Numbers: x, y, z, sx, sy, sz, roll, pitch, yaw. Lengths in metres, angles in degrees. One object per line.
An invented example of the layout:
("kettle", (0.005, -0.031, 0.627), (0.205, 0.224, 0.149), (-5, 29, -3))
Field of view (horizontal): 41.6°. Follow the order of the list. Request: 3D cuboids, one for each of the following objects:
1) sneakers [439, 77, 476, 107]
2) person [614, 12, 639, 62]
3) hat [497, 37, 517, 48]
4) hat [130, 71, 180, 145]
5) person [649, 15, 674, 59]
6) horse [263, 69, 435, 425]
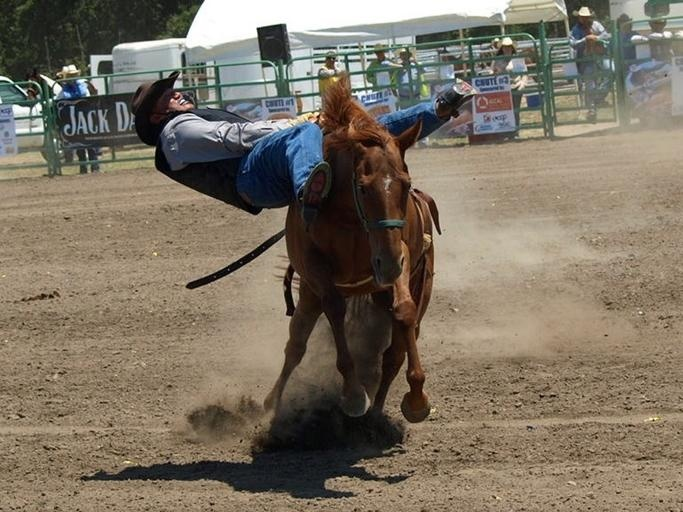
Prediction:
("sneakers", (0.993, -1.358, 7.697), (0.268, 0.240, 0.096), (-44, -19, -6))
("person", (5.467, -4.118, 17.258), (0.309, 0.845, 0.426), (-3, 10, 18))
("hat", (3.206, -4.187, 17.481), (0.303, 0.122, 0.317), (0, 2, -1))
("hat", (-1.685, -1.320, 7.937), (0.226, 0.567, 0.496), (22, 30, 1))
("person", (6.082, -4.121, 17.111), (0.432, 0.784, 0.656), (-2, 10, 20))
("horse", (0.130, 0.001, 7.583), (1.215, 3.015, 1.598), (-6, 9, -3))
